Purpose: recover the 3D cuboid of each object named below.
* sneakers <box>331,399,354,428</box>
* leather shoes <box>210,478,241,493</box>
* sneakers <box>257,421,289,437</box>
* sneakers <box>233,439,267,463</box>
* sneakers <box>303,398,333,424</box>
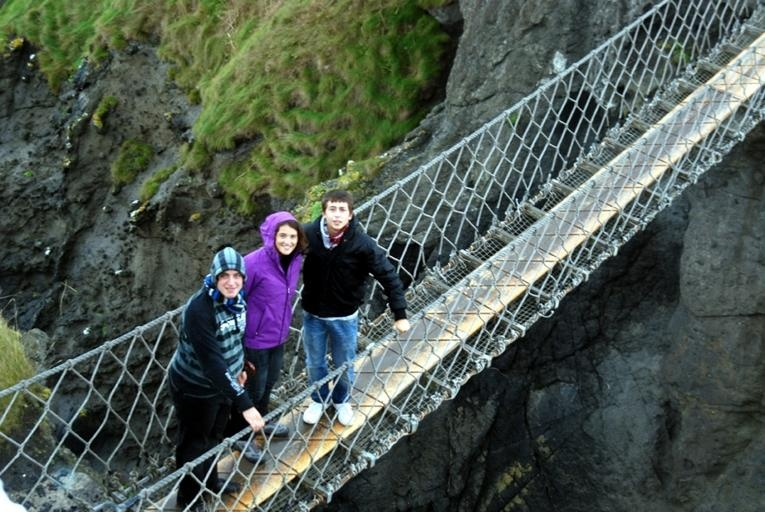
[{"bbox_3d":[-0.510,2.096,13.123,0.190,0.139,0.363,-16,74,-3],"label":"sneakers"},{"bbox_3d":[-2.017,2.958,12.723,0.405,0.295,0.148,-3,67,-10],"label":"leather shoes"},{"bbox_3d":[-1.457,2.291,13.063,0.419,0.188,0.164,0,33,1],"label":"sneakers"},{"bbox_3d":[-1.746,2.548,12.878,0.444,0.199,0.193,24,24,12],"label":"sneakers"},{"bbox_3d":[-0.893,2.035,13.199,0.187,0.175,0.432,3,36,21],"label":"sneakers"}]
